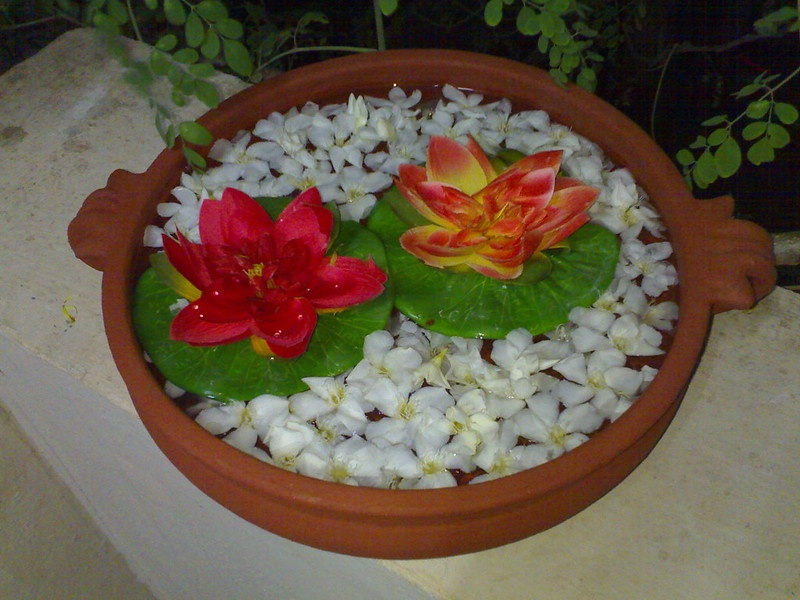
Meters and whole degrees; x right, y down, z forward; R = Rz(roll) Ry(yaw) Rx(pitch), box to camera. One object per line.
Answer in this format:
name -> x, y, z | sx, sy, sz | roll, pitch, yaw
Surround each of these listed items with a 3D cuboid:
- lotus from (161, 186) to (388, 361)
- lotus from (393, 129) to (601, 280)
lotus -> -0.159, -0.036, 0.927 | 0.272, 0.135, 0.221 | -9, 68, -2
lotus -> 0.117, -0.119, 0.968 | 0.258, 0.094, 0.190 | 14, 69, 8
